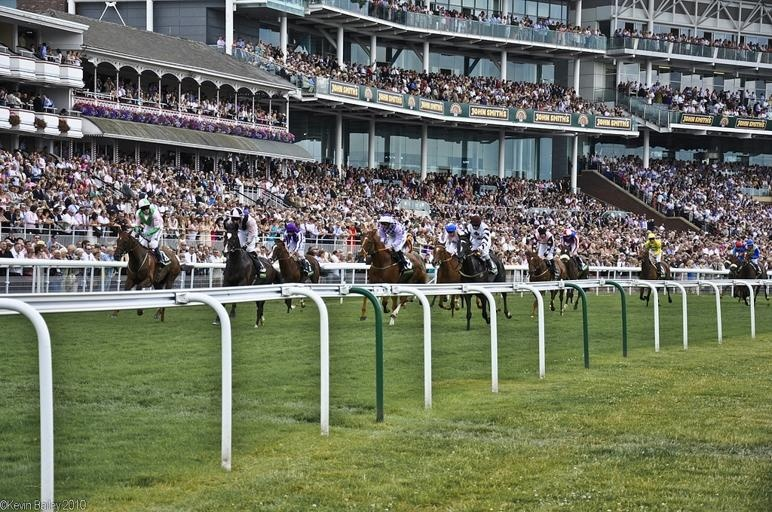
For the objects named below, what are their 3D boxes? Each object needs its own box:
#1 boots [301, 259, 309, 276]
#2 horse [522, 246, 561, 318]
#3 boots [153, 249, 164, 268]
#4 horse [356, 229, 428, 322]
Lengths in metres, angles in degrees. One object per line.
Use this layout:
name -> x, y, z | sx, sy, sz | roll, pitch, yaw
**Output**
boots -> -2.103, 0.329, 37.851 | 0.095, 0.396, 0.225 | -15, 33, 4
horse -> 4.412, 0.777, 40.824 | 0.985, 1.474, 4.036 | -3, -1, 6
boots -> -5.683, 0.094, 36.684 | 0.089, 0.413, 0.223 | -20, 4, -3
horse -> 0.028, 0.362, 38.392 | 0.850, 2.444, 3.882 | -2, -6, 29
